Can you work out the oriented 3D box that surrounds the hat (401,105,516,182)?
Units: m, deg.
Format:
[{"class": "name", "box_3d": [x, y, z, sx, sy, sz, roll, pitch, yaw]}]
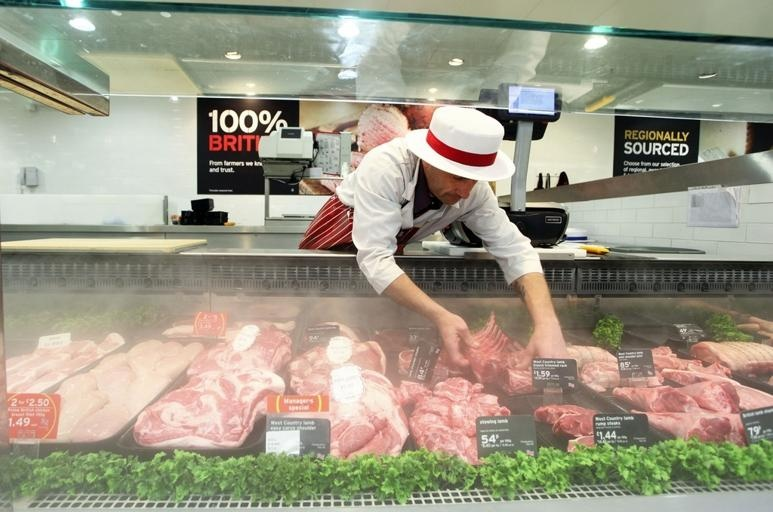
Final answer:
[{"class": "hat", "box_3d": [0.267, -0.396, 1.888, 0.345, 0.109, 0.362, -22, 46, -39]}]
